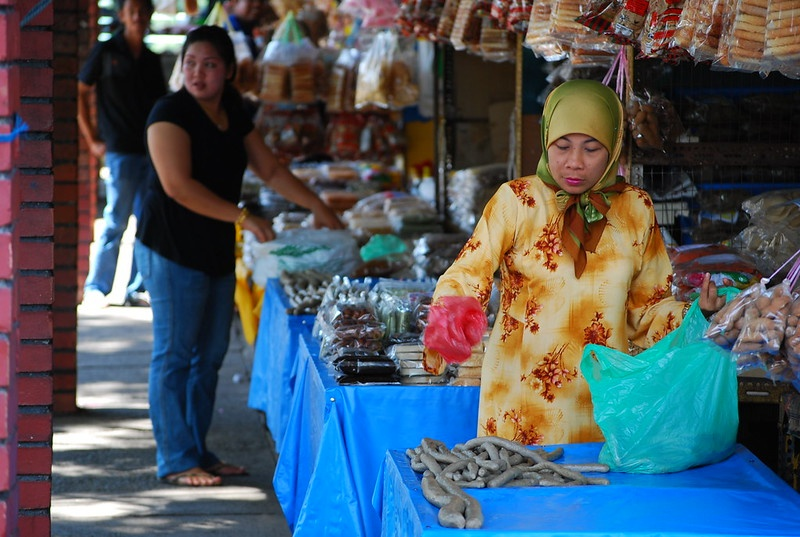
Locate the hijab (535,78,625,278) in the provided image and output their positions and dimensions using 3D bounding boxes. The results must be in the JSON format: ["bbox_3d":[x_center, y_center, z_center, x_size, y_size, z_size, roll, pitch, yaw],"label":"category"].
[{"bbox_3d":[0.683,-0.335,4.034,0.294,0.750,0.312,11,24,33],"label":"hijab"}]

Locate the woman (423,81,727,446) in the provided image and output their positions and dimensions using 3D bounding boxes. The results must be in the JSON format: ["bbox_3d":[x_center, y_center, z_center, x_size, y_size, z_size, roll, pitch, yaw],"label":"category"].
[{"bbox_3d":[0.559,0.200,4.087,0.974,1.688,0.719,-6,23,-9],"label":"woman"}]

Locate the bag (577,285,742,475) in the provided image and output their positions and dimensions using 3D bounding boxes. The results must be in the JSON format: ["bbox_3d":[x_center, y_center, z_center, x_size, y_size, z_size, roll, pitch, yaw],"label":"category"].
[{"bbox_3d":[0.913,0.390,3.694,0.552,0.688,0.343,-1,-11,-2],"label":"bag"}]

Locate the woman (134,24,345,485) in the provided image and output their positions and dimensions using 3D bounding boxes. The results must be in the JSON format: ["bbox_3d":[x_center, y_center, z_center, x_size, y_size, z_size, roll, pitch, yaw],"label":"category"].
[{"bbox_3d":[-0.781,-0.055,5.424,0.965,2.306,0.912,-2,6,-34],"label":"woman"}]

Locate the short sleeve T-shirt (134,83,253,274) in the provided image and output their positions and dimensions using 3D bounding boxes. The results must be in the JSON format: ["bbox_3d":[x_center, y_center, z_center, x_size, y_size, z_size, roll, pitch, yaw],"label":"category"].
[{"bbox_3d":[-0.982,-0.432,5.323,0.324,0.921,0.628,12,18,40],"label":"short sleeve T-shirt"}]

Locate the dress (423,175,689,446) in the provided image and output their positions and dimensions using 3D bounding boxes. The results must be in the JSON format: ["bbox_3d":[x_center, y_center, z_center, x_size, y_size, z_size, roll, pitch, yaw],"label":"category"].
[{"bbox_3d":[0.614,0.247,4.148,0.981,1.671,0.536,-4,35,3],"label":"dress"}]
